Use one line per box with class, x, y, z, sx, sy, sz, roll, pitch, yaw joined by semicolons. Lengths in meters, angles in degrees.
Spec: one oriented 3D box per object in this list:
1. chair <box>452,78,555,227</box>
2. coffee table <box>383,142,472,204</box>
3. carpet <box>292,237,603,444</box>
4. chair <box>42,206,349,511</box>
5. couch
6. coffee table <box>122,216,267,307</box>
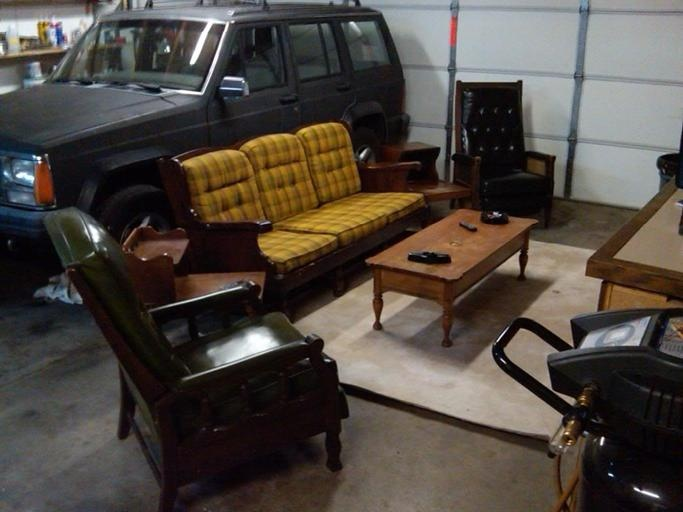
chair;1.872;-1.158;6.260;1.030;1.553;0.923;-8;17;-17
coffee table;0.952;-0.831;6.229;0.690;0.704;1.009;-22;39;-25
carpet;0.748;0.601;3.895;1.353;0.028;1.611;10;22;28
chair;-0.659;0.448;2.669;1.077;1.467;0.797;-16;26;-27
couch;-0.235;-0.483;4.916;1.136;1.194;2.506;12;24;32
coffee table;-0.995;0.067;3.511;0.672;0.412;0.652;-7;26;-11
